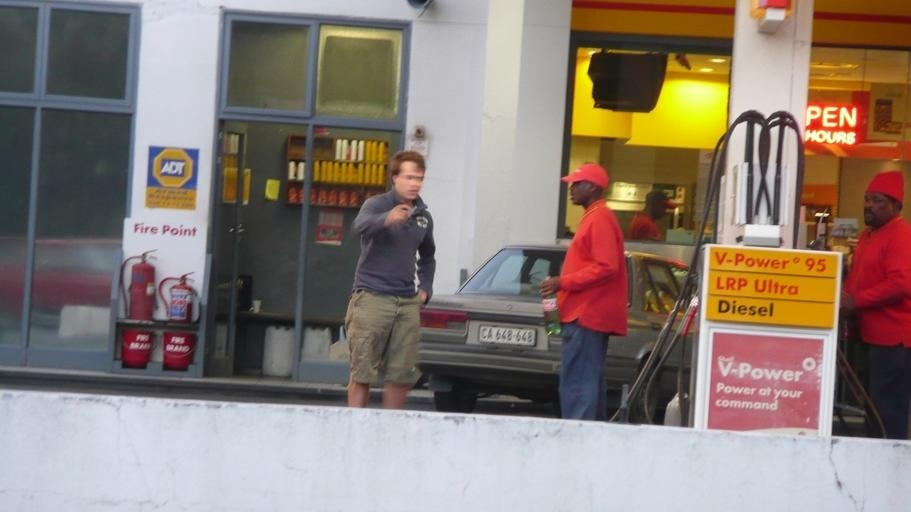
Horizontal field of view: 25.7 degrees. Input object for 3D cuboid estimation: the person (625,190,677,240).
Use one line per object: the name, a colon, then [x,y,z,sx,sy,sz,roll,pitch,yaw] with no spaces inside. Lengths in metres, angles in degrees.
person: [3.000,-0.691,30.274,0.764,0.798,0.939,3,16,2]

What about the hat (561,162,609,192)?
hat: [1.705,-1.092,25.928,0.564,0.273,0.353,11,4,2]

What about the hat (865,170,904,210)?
hat: [5.591,-0.930,26.035,0.559,0.405,0.390,0,3,13]

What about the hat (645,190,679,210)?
hat: [3.123,-0.897,30.096,0.437,0.210,0.271,-5,8,-4]
